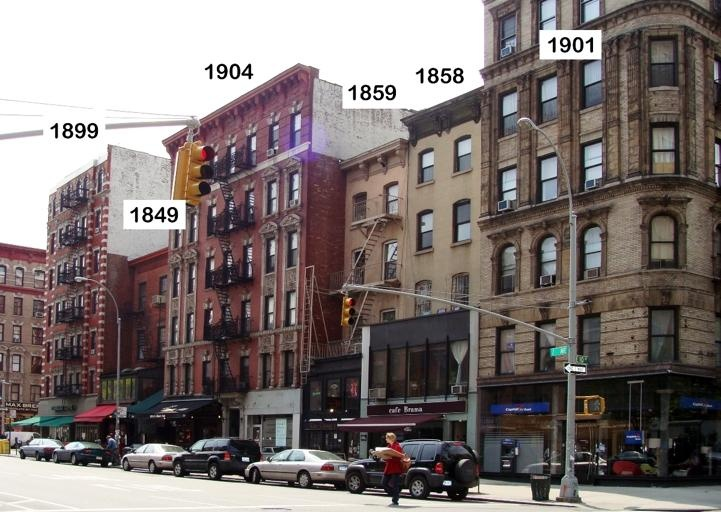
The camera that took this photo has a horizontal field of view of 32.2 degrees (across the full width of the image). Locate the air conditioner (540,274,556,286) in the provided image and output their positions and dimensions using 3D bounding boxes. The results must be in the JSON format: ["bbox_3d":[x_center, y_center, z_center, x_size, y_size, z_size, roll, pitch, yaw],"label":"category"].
[{"bbox_3d":[9.932,1.365,66.442,0.861,0.769,0.483,-11,-32,29],"label":"air conditioner"}]

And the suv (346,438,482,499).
[{"bbox_3d":[2.463,9.904,58.838,5.069,2.234,2.874,-3,-11,42],"label":"suv"}]

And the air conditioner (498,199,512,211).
[{"bbox_3d":[7.888,-2.612,68.604,0.510,0.684,0.940,5,-9,-36],"label":"air conditioner"}]

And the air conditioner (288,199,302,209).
[{"bbox_3d":[-4.137,-3.256,79.827,0.493,0.637,0.885,11,-15,-37],"label":"air conditioner"}]

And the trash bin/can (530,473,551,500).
[{"bbox_3d":[8.186,10.514,57.051,0.782,1.231,0.681,1,-15,0],"label":"trash bin/can"}]

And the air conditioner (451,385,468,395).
[{"bbox_3d":[5.441,7.319,68.683,0.516,0.491,0.740,3,-5,-41],"label":"air conditioner"}]

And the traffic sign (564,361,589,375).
[{"bbox_3d":[10.053,5.219,58.474,1.086,0.518,0.050,6,11,-22],"label":"traffic sign"}]

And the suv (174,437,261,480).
[{"bbox_3d":[-7.778,10.710,66.921,2.110,1.721,4.337,9,-10,-42],"label":"suv"}]

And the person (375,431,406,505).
[{"bbox_3d":[1.225,8.806,52.499,0.985,3.134,1.250,-7,-10,43],"label":"person"}]
